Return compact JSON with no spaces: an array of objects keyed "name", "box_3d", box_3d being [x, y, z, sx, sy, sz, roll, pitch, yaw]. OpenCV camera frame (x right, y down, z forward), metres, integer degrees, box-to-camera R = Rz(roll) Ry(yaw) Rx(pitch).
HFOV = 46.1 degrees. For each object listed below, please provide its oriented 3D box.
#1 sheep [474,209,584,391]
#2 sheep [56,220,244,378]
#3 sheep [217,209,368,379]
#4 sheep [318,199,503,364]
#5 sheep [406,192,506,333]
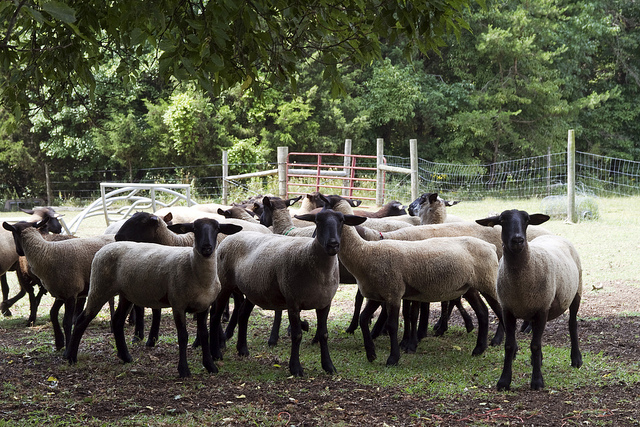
[{"name":"sheep","box_3d":[3.252,1.244,11.342,1.057,2.632,1.595,0,2,40]},{"name":"sheep","box_3d":[-2.564,1.291,11.748,3.157,2.280,1.301,-1,-1,28]},{"name":"sheep","box_3d":[-0.553,1.242,11.855,1.296,2.502,3.098,1,-1,-45]},{"name":"sheep","box_3d":[1.464,1.096,12.326,3.453,2.580,1.198,-2,3,-19]},{"name":"sheep","box_3d":[2.750,0.670,13.683,1.252,2.182,2.867,-14,14,-20]}]
